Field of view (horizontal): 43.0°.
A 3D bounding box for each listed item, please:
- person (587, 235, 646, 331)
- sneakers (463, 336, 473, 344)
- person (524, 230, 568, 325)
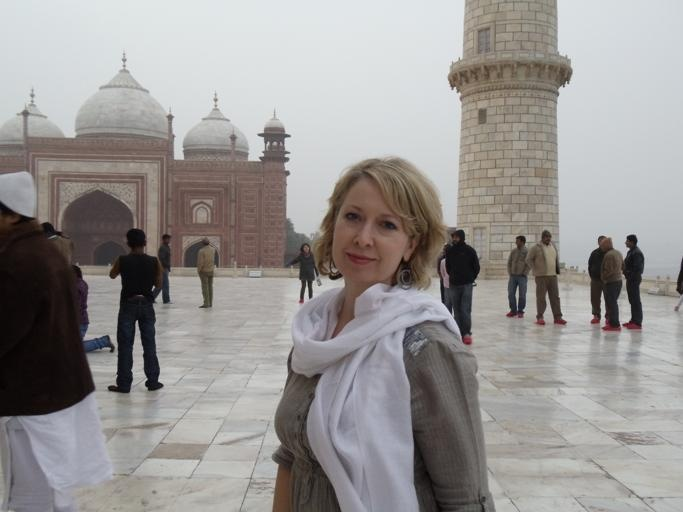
[{"bbox_3d":[4.055,0.396,12.596,0.682,1.511,1.345,4,13,18],"label":"person"},{"bbox_3d":[1.601,1.063,11.015,0.136,0.057,0.144,0,1,0],"label":"sneakers"},{"bbox_3d":[3.130,0.316,13.135,0.579,1.425,0.579,3,13,13],"label":"person"}]
